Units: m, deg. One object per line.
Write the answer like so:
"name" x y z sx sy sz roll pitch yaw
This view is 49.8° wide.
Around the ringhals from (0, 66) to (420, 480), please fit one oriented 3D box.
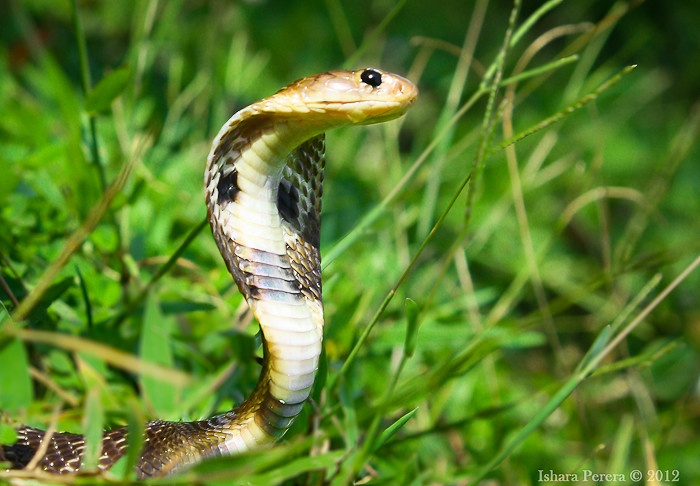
"ringhals" -0.147 0.053 1.451 0.371 0.611 0.637 15 38 4
